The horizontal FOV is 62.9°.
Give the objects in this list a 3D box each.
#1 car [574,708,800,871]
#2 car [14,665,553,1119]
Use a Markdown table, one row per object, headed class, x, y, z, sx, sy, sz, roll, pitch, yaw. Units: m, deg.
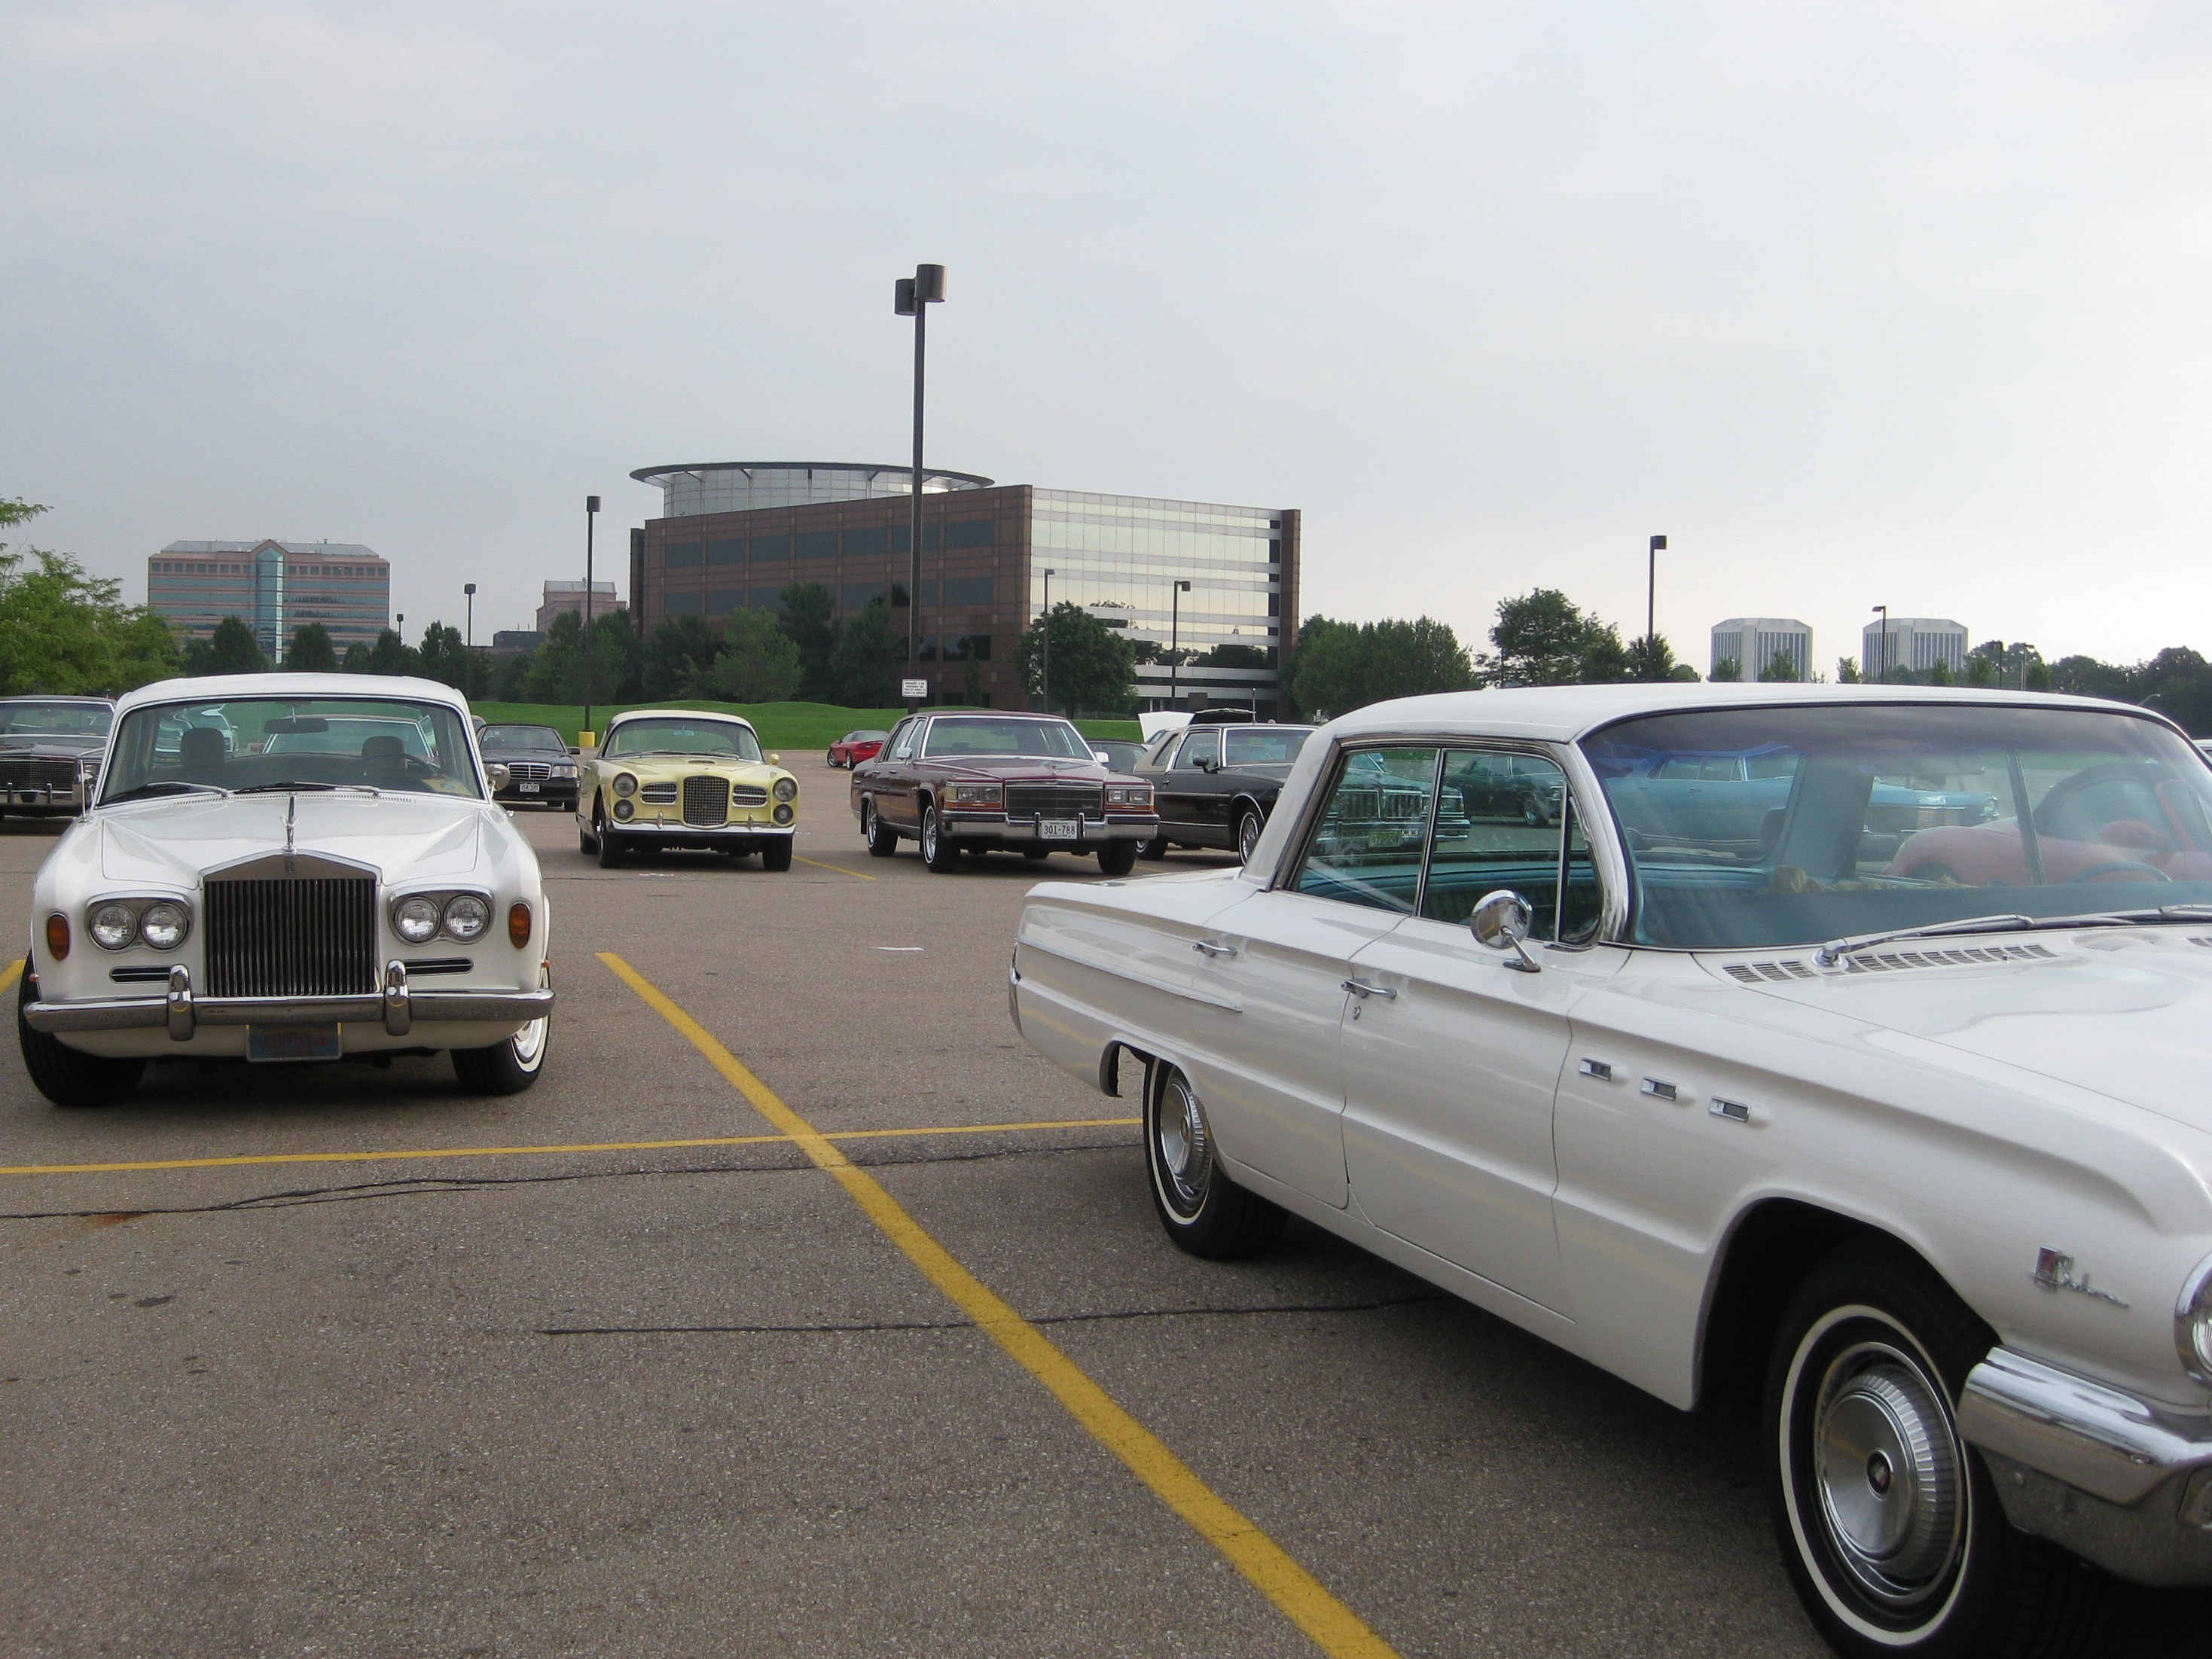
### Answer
| class | x | y | z | sx | sy | sz | roll | pitch | yaw |
| --- | --- | --- | --- | --- | --- | --- | --- | --- | --- |
| car | -5.285 | -0.518 | 22.697 | 2.301 | 1.917 | 2.893 | -1 | 4 | -20 |
| car | -4.034 | 0.191 | 9.101 | 1.700 | 1.367 | 3.000 | 1 | -2 | -18 |
